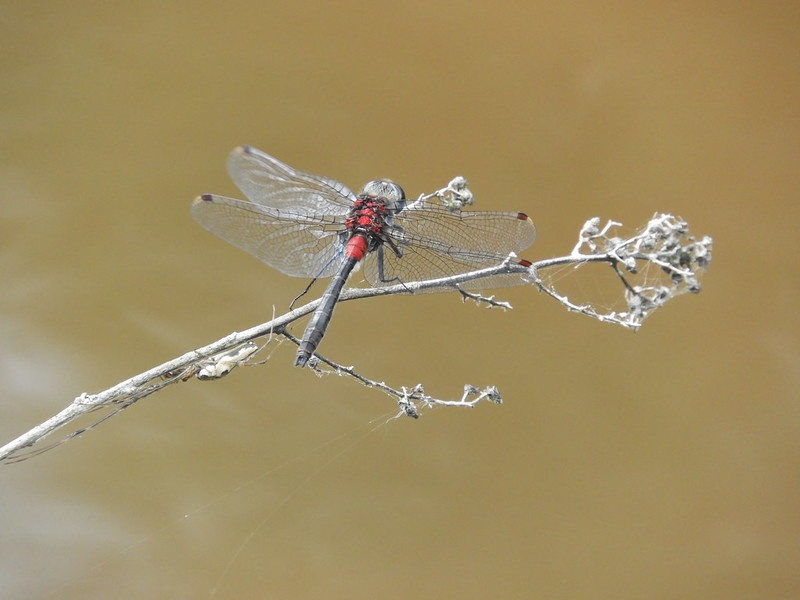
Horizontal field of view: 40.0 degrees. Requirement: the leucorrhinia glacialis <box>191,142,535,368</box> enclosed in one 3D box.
[{"bbox_3d":[-0.338,-0.541,9.100,2.867,1.378,1.753,8,-35,13],"label":"leucorrhinia glacialis"}]
